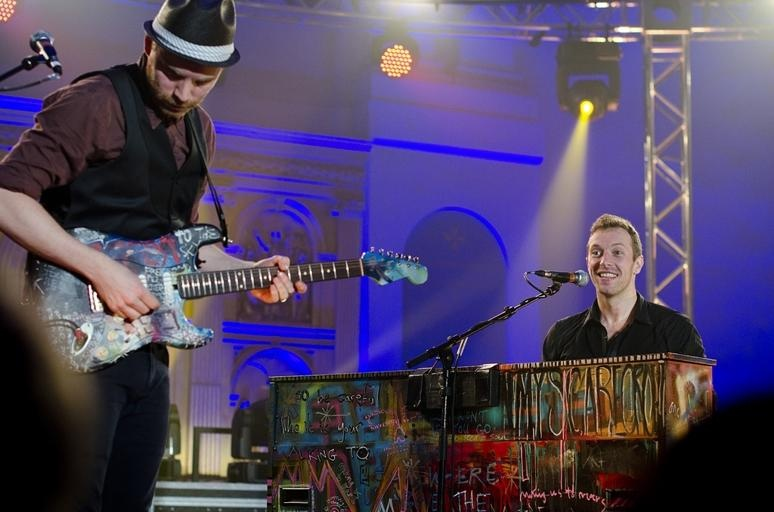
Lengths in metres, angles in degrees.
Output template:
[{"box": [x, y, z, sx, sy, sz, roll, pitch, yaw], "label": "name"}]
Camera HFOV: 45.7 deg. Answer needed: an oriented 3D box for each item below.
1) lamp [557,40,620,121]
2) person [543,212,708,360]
[{"box": [2.977, -2.597, 13.514, 0.931, 1.343, 0.781, 2, 18, 9], "label": "lamp"}, {"box": [2.163, 0.432, 8.541, 1.569, 1.579, 0.799, -6, -15, 33], "label": "person"}]
